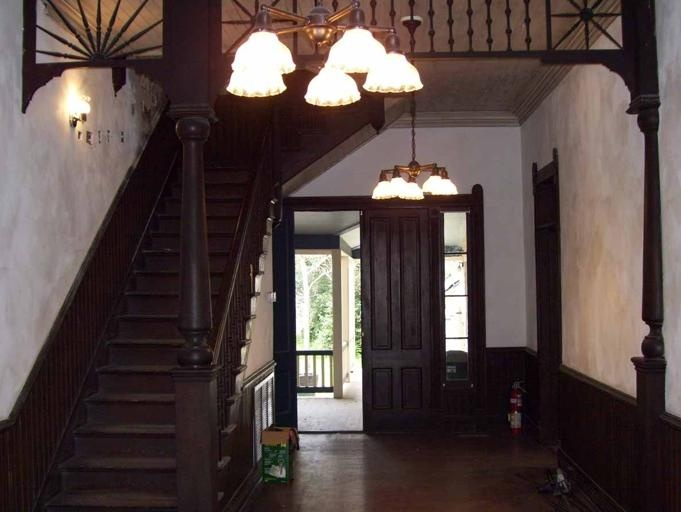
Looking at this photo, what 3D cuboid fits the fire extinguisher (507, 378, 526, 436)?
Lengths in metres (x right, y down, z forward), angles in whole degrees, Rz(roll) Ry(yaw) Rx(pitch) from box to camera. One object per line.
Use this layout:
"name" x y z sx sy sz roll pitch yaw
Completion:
"fire extinguisher" 2.263 1.937 8.180 0.191 0.586 0.425 -1 1 17

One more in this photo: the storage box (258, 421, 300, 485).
"storage box" -0.636 2.086 6.757 0.426 0.558 0.416 0 2 2

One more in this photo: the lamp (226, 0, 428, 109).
"lamp" -0.131 -1.280 3.840 0.971 0.717 0.869 -3 1 -39

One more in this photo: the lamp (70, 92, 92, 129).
"lamp" -2.367 -1.326 5.808 0.156 0.374 0.123 -7 -20 -10

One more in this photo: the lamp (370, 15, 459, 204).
"lamp" 0.703 -1.386 6.242 0.748 1.629 0.855 -2 3 21
